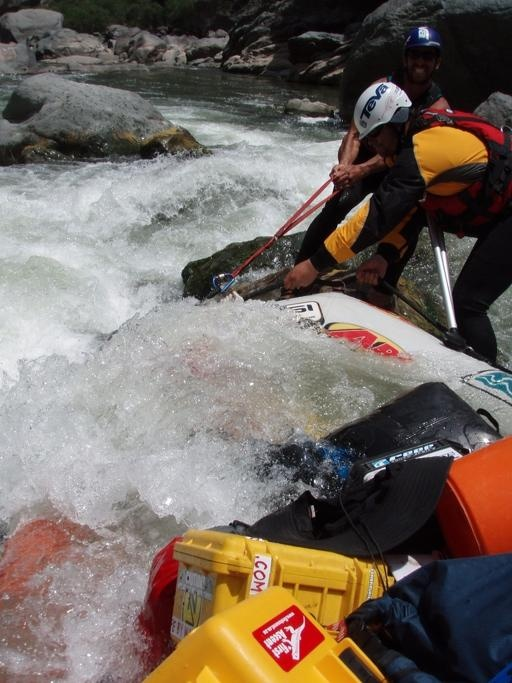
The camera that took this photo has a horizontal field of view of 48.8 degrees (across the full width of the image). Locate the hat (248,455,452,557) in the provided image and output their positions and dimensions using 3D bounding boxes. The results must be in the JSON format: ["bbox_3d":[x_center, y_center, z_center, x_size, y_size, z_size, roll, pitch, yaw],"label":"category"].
[{"bbox_3d":[0.245,0.425,1.494,0.547,0.163,0.404,-15,-1,34],"label":"hat"}]
